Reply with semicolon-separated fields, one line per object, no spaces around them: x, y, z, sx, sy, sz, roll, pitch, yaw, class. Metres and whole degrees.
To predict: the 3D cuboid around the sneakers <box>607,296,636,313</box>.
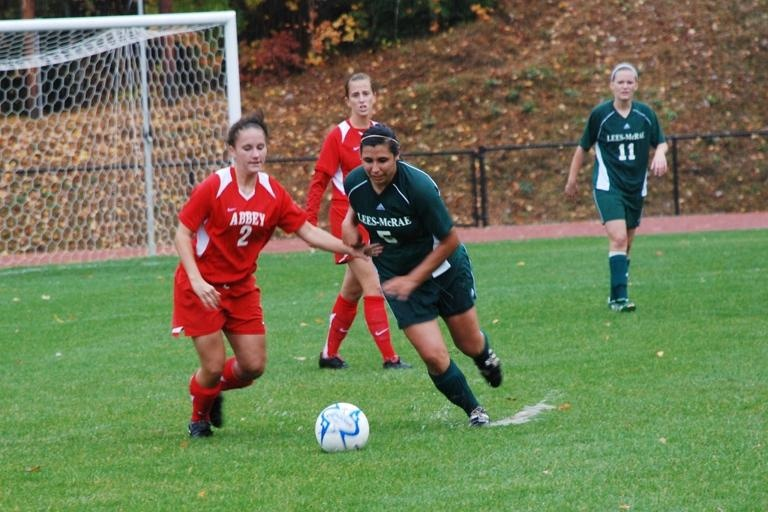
2.828;0.563;10.968;0.358;0.157;0.155;3;13;39;sneakers

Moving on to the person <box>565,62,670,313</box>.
2.926;-0.872;11.182;1.062;2.873;1.019;-7;10;-12;person

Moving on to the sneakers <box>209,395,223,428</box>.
-1.577;1.471;8.666;0.128;0.276;0.283;7;43;-2;sneakers

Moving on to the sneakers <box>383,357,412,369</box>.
0.122;1.148;9.972;0.243;0.099;0.122;-2;2;7;sneakers

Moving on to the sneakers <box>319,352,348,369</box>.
-0.563;1.140;10.125;0.282;0.122;0.146;1;4;0;sneakers
